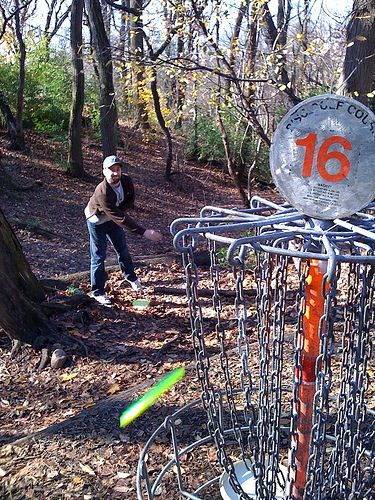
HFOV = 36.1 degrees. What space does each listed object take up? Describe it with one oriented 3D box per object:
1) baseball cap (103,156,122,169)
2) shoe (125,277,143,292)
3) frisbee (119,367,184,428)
[{"bbox_3d":[-0.761,-0.884,5.786,0.134,0.080,0.165,-2,18,-27],"label":"baseball cap"},{"bbox_3d":[-0.649,0.406,6.744,0.213,0.081,0.078,39,57,8],"label":"shoe"},{"bbox_3d":[-0.256,1.024,3.986,0.151,0.040,0.578,-12,12,44],"label":"frisbee"}]
